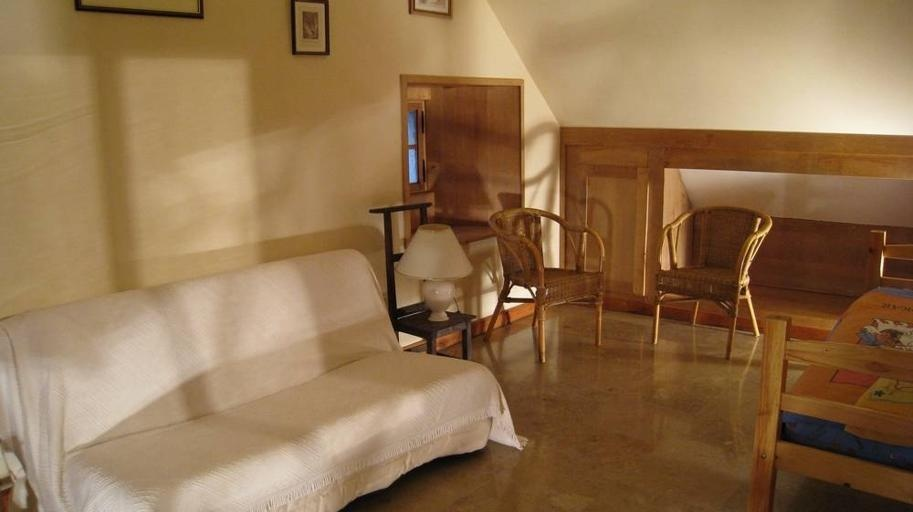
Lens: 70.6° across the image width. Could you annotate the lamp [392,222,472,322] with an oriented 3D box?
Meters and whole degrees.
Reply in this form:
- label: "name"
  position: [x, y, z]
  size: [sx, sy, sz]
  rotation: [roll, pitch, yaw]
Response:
- label: "lamp"
  position: [-0.148, 0.126, 5.099]
  size: [0.700, 0.756, 0.713]
  rotation: [4, 11, 34]
